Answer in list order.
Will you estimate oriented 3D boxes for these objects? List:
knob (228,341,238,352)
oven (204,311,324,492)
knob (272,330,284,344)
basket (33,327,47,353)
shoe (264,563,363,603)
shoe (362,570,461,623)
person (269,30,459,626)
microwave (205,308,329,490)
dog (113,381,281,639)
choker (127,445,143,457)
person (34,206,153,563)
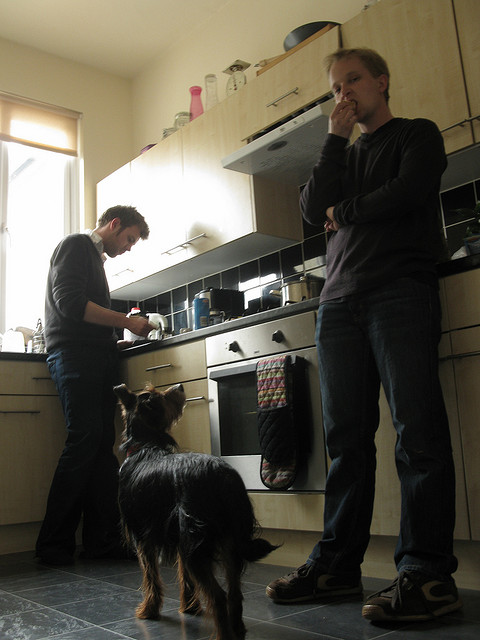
[{"bbox_3d":[-0.028,0.115,2.301,0.013,0.042,0.048,-2,-3,-36],"label":"knob"},{"bbox_3d":[0.220,0.358,2.267,0.481,0.646,0.703,6,-14,-34],"label":"oven"},{"bbox_3d":[0.144,0.065,2.114,0.021,0.049,0.058,-2,-3,-36],"label":"knob"},{"bbox_3d":[-1.223,0.126,3.331,0.065,0.146,0.187,-3,-3,-22],"label":"basket"},{"bbox_3d":[0.178,0.668,1.428,0.264,0.105,0.090,2,-6,-4],"label":"shoe"},{"bbox_3d":[0.373,0.581,1.165,0.246,0.096,0.087,3,-15,-20],"label":"shoe"},{"bbox_3d":[0.311,-0.031,1.383,0.399,0.991,0.416,-2,-4,-38],"label":"person"},{"bbox_3d":[0.112,0.296,1.984,0.411,0.552,0.584,8,-17,-32],"label":"microwave"},{"bbox_3d":[-0.135,0.437,1.366,0.281,0.566,0.695,3,-7,-33],"label":"dog"},{"bbox_3d":[-0.283,0.347,1.469,0.039,0.014,0.028,-28,-7,12],"label":"choker"},{"bbox_3d":[-0.668,0.222,2.569,0.488,1.629,0.591,-4,-3,3],"label":"person"}]
